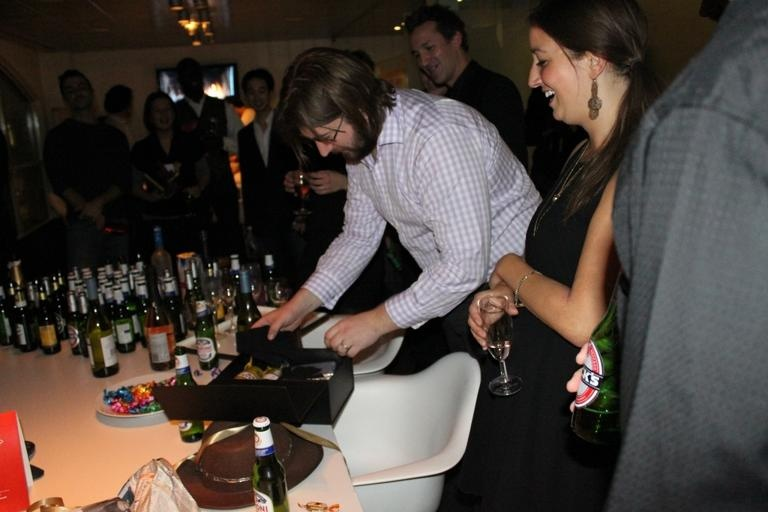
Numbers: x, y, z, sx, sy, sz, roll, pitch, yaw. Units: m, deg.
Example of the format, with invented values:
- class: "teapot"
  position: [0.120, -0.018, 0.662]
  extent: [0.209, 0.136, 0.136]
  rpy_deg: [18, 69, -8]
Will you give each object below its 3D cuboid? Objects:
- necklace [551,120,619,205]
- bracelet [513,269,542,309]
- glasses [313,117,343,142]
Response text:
- class: "necklace"
  position: [0.583, -0.237, 1.677]
  extent: [0.126, 0.243, 0.138]
  rpy_deg: [36, 1, -28]
- class: "bracelet"
  position: [0.425, 0.098, 1.735]
  extent: [0.037, 0.097, 0.085]
  rpy_deg: [13, -15, -25]
- class: "glasses"
  position: [-0.164, -0.380, 1.787]
  extent: [0.097, 0.069, 0.075]
  rpy_deg: [-1, 13, 7]
